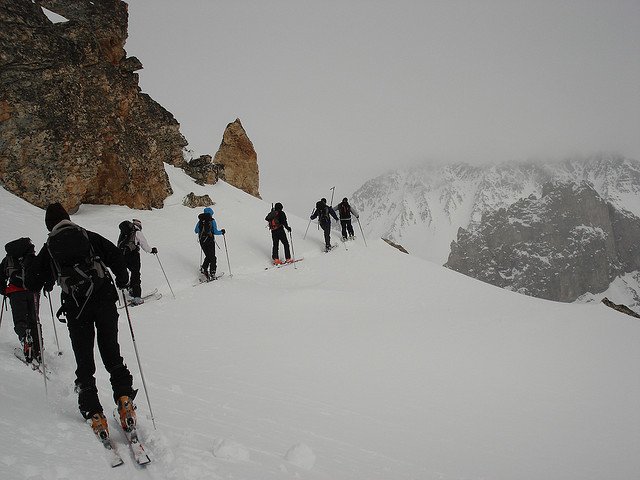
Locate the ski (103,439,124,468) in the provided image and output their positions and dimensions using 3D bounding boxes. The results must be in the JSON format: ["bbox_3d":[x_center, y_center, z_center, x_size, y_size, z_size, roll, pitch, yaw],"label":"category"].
[{"bbox_3d":[-5.328,5.537,15.448,0.285,0.181,0.998,-1,32,-28],"label":"ski"}]

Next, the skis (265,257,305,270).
[{"bbox_3d":[-1.635,1.121,28.650,1.656,0.311,0.180,-12,33,-27],"label":"skis"}]

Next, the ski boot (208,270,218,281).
[{"bbox_3d":[-4.606,1.540,25.833,0.303,0.433,0.358,3,-7,-35],"label":"ski boot"}]

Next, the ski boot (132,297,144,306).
[{"bbox_3d":[-6.974,2.347,22.900,0.256,0.162,0.361,0,3,0],"label":"ski boot"}]

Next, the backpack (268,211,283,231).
[{"bbox_3d":[-2.060,-0.934,28.028,0.669,0.937,0.443,4,9,-5],"label":"backpack"}]

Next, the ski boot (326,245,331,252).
[{"bbox_3d":[0.486,0.411,31.145,0.296,0.514,0.509,-1,1,7],"label":"ski boot"}]

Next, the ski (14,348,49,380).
[{"bbox_3d":[-8.359,3.630,17.313,1.221,0.212,0.196,42,17,10],"label":"ski"}]

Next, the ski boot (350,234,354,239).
[{"bbox_3d":[1.829,-0.205,33.364,0.088,0.321,0.539,7,10,16],"label":"ski boot"}]

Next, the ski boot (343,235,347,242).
[{"bbox_3d":[1.439,-0.088,32.955,0.199,0.308,0.093,-3,1,4],"label":"ski boot"}]
